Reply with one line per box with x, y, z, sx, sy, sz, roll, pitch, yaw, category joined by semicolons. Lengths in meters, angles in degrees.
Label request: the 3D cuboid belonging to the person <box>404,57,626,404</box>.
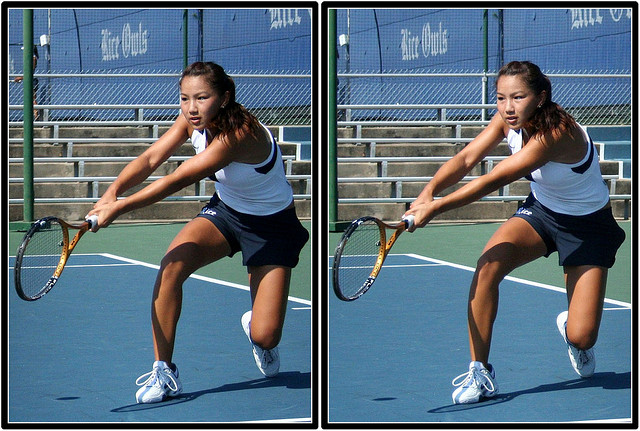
1.523;0.098;6.562;1.556;2.448;0.593;-3;13;-14;person
